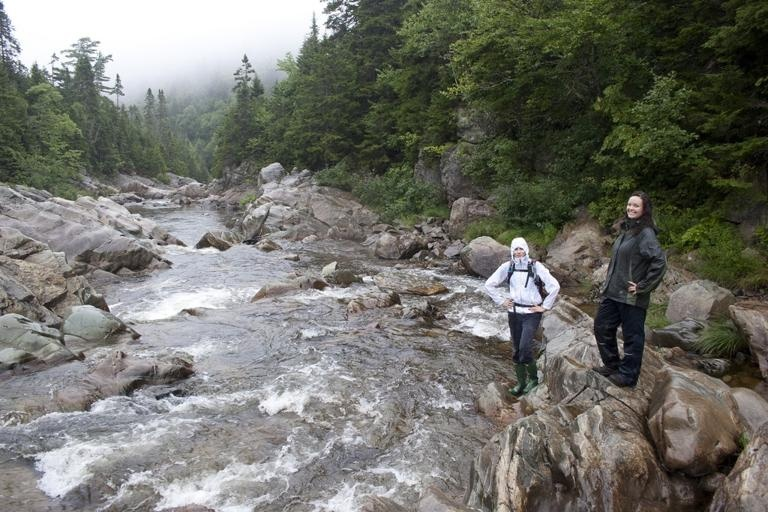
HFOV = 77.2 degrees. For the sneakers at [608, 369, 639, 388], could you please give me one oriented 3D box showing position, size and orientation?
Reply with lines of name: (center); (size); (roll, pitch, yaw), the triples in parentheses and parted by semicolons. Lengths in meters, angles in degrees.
sneakers: (4.909, 2.534, 9.917); (0.568, 0.227, 0.279); (13, 1, 22)
